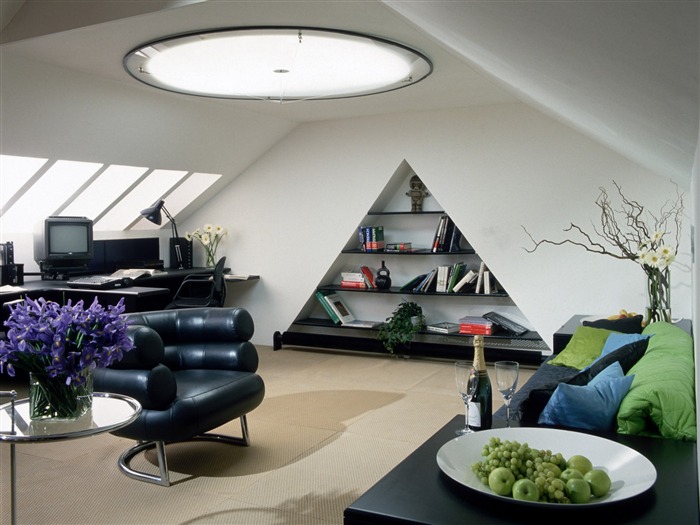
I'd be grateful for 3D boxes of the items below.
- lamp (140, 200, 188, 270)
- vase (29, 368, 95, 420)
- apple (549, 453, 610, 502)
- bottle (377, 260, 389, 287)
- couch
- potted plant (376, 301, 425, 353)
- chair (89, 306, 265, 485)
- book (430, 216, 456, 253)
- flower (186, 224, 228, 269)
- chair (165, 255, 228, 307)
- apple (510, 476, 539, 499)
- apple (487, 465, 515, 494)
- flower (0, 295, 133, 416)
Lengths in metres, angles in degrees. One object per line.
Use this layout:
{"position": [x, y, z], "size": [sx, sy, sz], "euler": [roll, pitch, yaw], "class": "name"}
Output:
{"position": [-2.250, -0.355, 6.176], "size": [0.492, 0.871, 1.145], "euler": [-1, 3, -18], "class": "lamp"}
{"position": [-1.259, 0.583, 2.256], "size": [0.228, 0.231, 0.236], "euler": [0, -2, 4], "class": "vase"}
{"position": [0.668, 0.619, 1.427], "size": [0.112, 0.051, 0.114], "euler": [4, 21, 8], "class": "apple"}
{"position": [0.406, 0.134, 6.052], "size": [0.164, 0.326, 0.333], "euler": [0, 3, 5], "class": "bottle"}
{"position": [1.218, 0.531, 2.281], "size": [0.543, 0.218, 0.721], "euler": [-11, 4, 21], "class": "couch"}
{"position": [0.596, 0.742, 5.719], "size": [0.545, 0.563, 0.434], "euler": [-1, 3, -10], "class": "potted plant"}
{"position": [-1.118, 0.710, 3.289], "size": [0.878, 0.872, 1.058], "euler": [2, 3, 26], "class": "chair"}
{"position": [1.076, -0.305, 5.683], "size": [0.104, 0.419, 0.303], "euler": [10, 4, 15], "class": "book"}
{"position": [-1.811, -0.204, 6.616], "size": [0.479, 0.546, 0.544], "euler": [0, -12, -27], "class": "flower"}
{"position": [-1.739, 0.375, 5.593], "size": [0.671, 0.977, 0.684], "euler": [-1, -2, -18], "class": "chair"}
{"position": [0.489, 0.634, 1.396], "size": [0.055, 0.058, 0.068], "euler": [-2, -13, 1], "class": "apple"}
{"position": [0.435, 0.627, 1.429], "size": [0.070, 0.069, 0.072], "euler": [29, -15, 7], "class": "apple"}
{"position": [-1.251, 0.420, 2.242], "size": [0.501, 0.515, 0.228], "euler": [-2, 4, -26], "class": "flower"}
